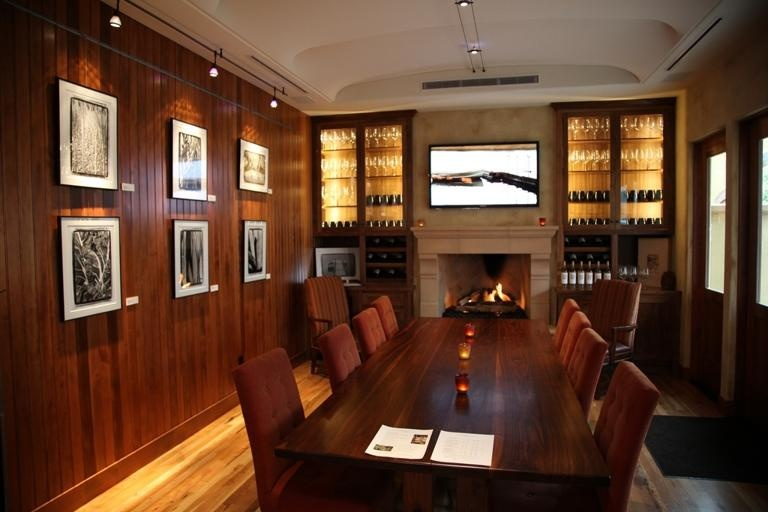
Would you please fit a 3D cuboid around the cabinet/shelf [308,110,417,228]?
[{"bbox_3d":[-0.264,-1.316,7.745,1.489,2.115,0.442,0,1,10],"label":"cabinet/shelf"}]

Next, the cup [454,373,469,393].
[{"bbox_3d":[0.583,0.950,3.934,0.110,0.134,0.118,-1,-1,0],"label":"cup"}]

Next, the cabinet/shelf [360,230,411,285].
[{"bbox_3d":[0.049,0.023,7.738,0.687,0.732,0.263,1,-3,5],"label":"cabinet/shelf"}]

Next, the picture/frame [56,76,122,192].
[{"bbox_3d":[-2.513,-1.019,4.461,0.097,0.901,0.578,8,15,36],"label":"picture/frame"}]

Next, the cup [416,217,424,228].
[{"bbox_3d":[0.533,-0.472,7.605,0.091,0.101,0.098,0,2,0],"label":"cup"}]

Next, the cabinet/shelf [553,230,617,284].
[{"bbox_3d":[2.791,0.026,7.225,0.644,1.046,0.339,0,-3,5],"label":"cabinet/shelf"}]

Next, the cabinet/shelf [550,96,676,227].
[{"bbox_3d":[3.191,-1.312,7.140,1.517,2.018,0.499,0,1,10],"label":"cabinet/shelf"}]

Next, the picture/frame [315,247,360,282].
[{"bbox_3d":[-0.686,0.086,7.950,0.758,0.705,0.437,1,5,7],"label":"picture/frame"}]

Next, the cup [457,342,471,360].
[{"bbox_3d":[0.697,0.821,4.545,0.115,0.146,0.123,0,0,0],"label":"cup"}]

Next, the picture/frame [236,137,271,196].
[{"bbox_3d":[-1.579,-1.066,6.257,0.049,0.745,0.727,0,2,21],"label":"picture/frame"}]

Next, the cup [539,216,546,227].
[{"bbox_3d":[2.176,-0.467,7.259,0.108,0.123,0.117,-1,0,0],"label":"cup"}]

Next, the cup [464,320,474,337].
[{"bbox_3d":[0.848,0.737,5.139,0.095,0.120,0.101,0,0,0],"label":"cup"}]
